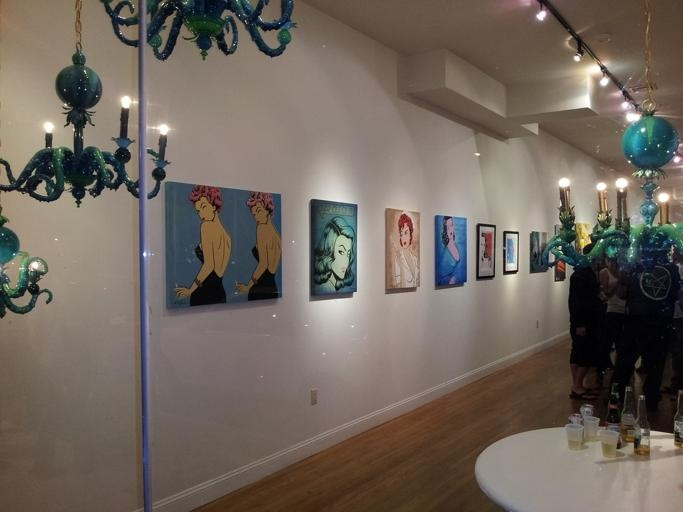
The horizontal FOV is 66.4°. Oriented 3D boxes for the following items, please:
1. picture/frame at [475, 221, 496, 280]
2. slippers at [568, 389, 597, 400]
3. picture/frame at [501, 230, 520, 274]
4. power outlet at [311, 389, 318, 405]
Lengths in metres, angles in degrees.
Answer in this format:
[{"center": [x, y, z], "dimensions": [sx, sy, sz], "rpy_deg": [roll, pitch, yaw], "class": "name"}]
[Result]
[{"center": [1.733, -0.074, 6.277], "dimensions": [0.059, 0.952, 0.634], "rpy_deg": [1, 2, 37], "class": "picture/frame"}, {"center": [2.151, 1.226, 4.628], "dimensions": [0.060, 0.102, 0.231], "rpy_deg": [7, -7, -39], "class": "slippers"}, {"center": [2.176, -0.046, 6.594], "dimensions": [0.248, 0.538, 0.080], "rpy_deg": [-1, 5, -22], "class": "picture/frame"}, {"center": [-0.217, 1.125, 4.189], "dimensions": [0.013, 0.130, 0.087], "rpy_deg": [5, 7, 38], "class": "power outlet"}]
